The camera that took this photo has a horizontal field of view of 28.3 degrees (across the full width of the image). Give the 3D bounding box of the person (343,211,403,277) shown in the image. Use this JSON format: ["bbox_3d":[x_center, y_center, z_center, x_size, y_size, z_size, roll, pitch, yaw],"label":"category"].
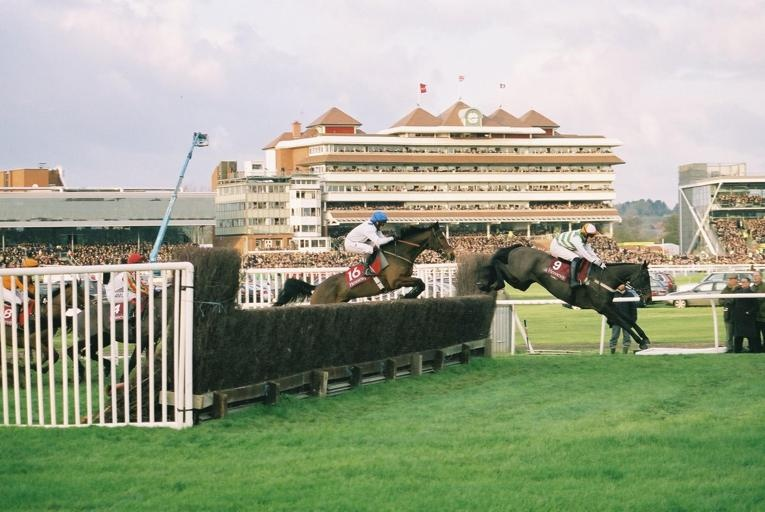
[{"bbox_3d":[-0.017,-0.375,31.060,1.539,1.506,0.770,-1,7,-3],"label":"person"}]

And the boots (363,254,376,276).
[{"bbox_3d":[-0.266,0.213,30.249,0.250,0.447,0.187,-2,-6,-1],"label":"boots"}]

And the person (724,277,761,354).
[{"bbox_3d":[7.229,1.385,30.569,0.671,1.191,0.361,-4,-6,13],"label":"person"}]

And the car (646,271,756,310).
[{"bbox_3d":[8.231,0.965,39.418,3.518,1.049,1.511,0,0,-2],"label":"car"}]

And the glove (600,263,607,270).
[{"bbox_3d":[4.399,0.244,30.311,0.106,0.128,0.043,-1,-7,15],"label":"glove"}]

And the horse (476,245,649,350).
[{"bbox_3d":[3.779,0.591,30.773,3.984,1.575,0.865,17,11,32],"label":"horse"}]

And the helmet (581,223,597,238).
[{"bbox_3d":[4.164,-0.487,30.545,0.333,0.316,0.241,2,14,43],"label":"helmet"}]
